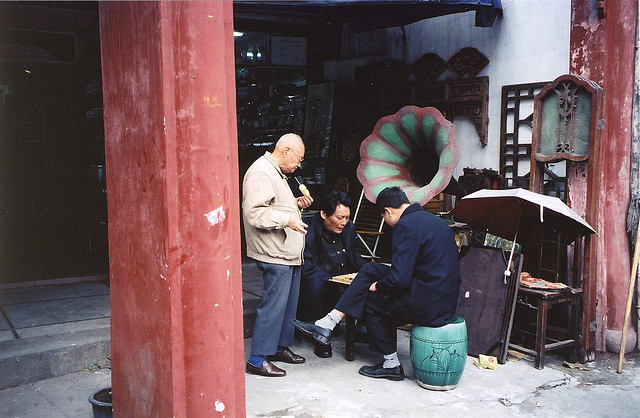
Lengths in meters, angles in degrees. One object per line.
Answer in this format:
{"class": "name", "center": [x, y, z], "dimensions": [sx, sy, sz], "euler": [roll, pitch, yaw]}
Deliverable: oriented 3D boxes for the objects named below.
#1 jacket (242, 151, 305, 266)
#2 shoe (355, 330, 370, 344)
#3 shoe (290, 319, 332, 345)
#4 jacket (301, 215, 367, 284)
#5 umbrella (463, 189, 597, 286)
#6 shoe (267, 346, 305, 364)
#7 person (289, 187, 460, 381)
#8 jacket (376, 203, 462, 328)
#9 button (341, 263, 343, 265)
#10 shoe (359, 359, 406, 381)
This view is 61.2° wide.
{"class": "jacket", "center": [-0.517, 0.025, 6.038], "dimensions": [0.673, 1.311, 0.561], "euler": [-1, 9, -9]}
{"class": "shoe", "center": [0.524, 1.636, 6.844], "dimensions": [0.187, 0.206, 0.054], "euler": [-2, 0, 16]}
{"class": "shoe", "center": [-0.095, 1.353, 6.324], "dimensions": [0.550, 0.232, 0.196], "euler": [17, 28, 28]}
{"class": "jacket", "center": [0.171, 0.545, 6.965], "dimensions": [0.810, 0.792, 0.465], "euler": [-9, 15, -16]}
{"class": "umbrella", "center": [2.295, 0.364, 7.081], "dimensions": [1.567, 1.042, 1.570], "euler": [-8, 3, 9]}
{"class": "shoe", "center": [-0.402, 1.744, 6.511], "dimensions": [0.483, 0.204, 0.181], "euler": [0, -2, 3]}
{"class": "person", "center": [0.792, 0.910, 6.007], "dimensions": [1.411, 1.953, 0.436], "euler": [4, 9, 21]}
{"class": "jacket", "center": [1.046, 0.611, 6.151], "dimensions": [1.040, 1.384, 1.053], "euler": [-5, -3, 26]}
{"class": "button", "center": [0.284, 0.700, 6.938], "dimensions": [0.023, 0.030, 0.022], "euler": [2, 10, 25]}
{"class": "shoe", "center": [0.709, 1.825, 6.146], "dimensions": [0.493, 0.231, 0.207], "euler": [5, -8, 18]}
